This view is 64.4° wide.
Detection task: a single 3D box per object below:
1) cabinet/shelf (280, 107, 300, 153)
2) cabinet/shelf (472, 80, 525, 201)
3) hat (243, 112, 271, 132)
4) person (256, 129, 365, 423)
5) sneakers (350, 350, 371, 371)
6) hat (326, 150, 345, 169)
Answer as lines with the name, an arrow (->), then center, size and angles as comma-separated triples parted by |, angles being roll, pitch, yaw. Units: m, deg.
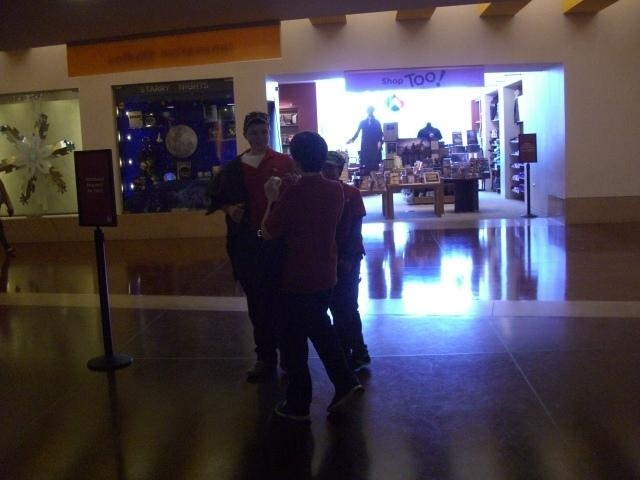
cabinet/shelf -> -0.904, -3.155, 14.513 | 0.479, 1.259, 0.139 | 1, -12, -8
cabinet/shelf -> 5.395, -2.978, 15.242 | 1.089, 3.590, 3.655 | 0, 6, 2
hat -> -0.466, -0.849, 3.627 | 0.183, 0.149, 0.189 | 1, 8, 5
person -> -0.062, 0.221, 3.211 | 0.603, 1.786, 0.295 | 0, 6, -4
sneakers -> 0.316, 0.907, 3.906 | 0.198, 0.145, 0.072 | -14, 14, -39
hat -> 0.106, -0.626, 3.826 | 0.127, 0.111, 0.137 | 6, -5, -26
